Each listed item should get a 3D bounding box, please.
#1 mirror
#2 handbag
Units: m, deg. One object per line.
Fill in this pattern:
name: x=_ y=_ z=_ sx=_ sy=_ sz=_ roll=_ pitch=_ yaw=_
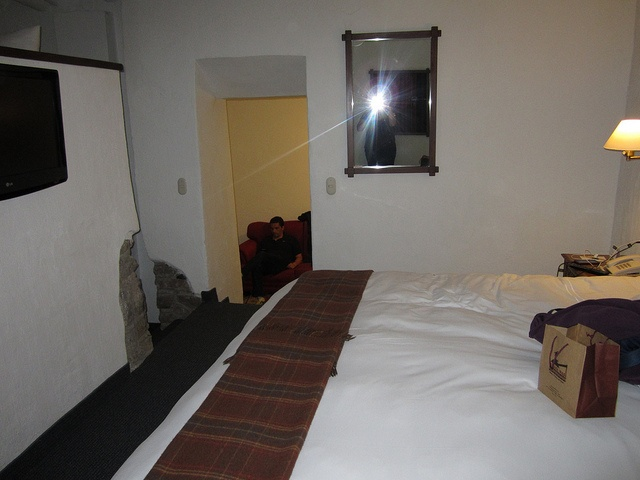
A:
mirror: x=0.592 y=-1.199 z=3.778 sx=0.851 sy=1.347 sz=0.059 roll=0 pitch=-5 yaw=10
handbag: x=1.113 y=0.572 z=1.937 sx=0.199 sy=0.318 sz=0.327 roll=2 pitch=5 yaw=5
